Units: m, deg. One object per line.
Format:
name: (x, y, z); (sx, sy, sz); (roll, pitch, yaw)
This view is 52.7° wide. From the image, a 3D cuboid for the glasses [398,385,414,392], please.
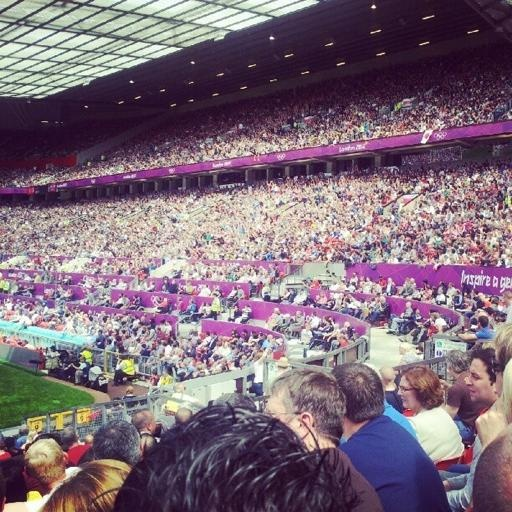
glasses: (1.120, 0.987, 3.839); (0.085, 0.022, 0.077); (7, -7, -5)
